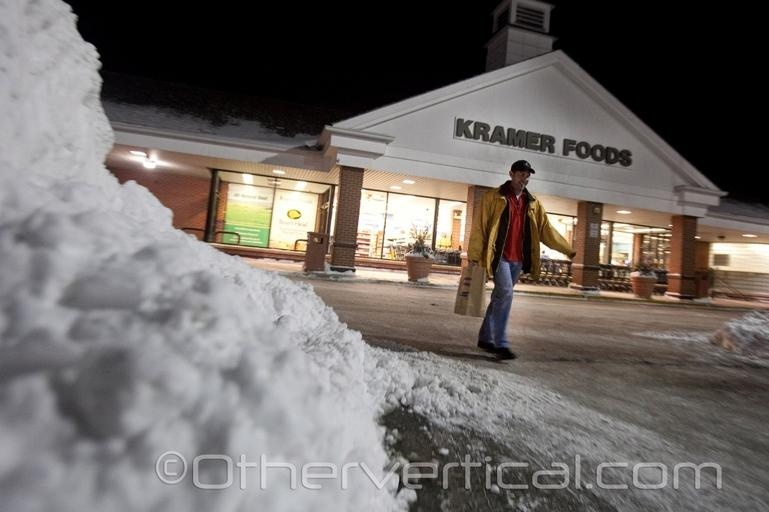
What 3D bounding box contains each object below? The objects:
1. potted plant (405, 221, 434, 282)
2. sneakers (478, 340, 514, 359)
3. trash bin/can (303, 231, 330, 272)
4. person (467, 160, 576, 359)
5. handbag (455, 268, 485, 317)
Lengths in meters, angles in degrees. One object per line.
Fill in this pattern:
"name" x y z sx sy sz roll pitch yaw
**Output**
"potted plant" 1.064 -0.115 13.424 0.852 1.612 0.876 3 0 20
"sneakers" 1.103 0.935 4.440 0.126 0.151 0.364 7 -7 -30
"trash bin/can" -1.969 -0.106 12.674 0.542 1.119 1.255 5 5 -4
"person" 1.335 -0.046 4.779 0.822 1.342 0.996 10 7 42
"handbag" 0.896 0.343 4.557 0.288 0.528 0.367 7 5 11
